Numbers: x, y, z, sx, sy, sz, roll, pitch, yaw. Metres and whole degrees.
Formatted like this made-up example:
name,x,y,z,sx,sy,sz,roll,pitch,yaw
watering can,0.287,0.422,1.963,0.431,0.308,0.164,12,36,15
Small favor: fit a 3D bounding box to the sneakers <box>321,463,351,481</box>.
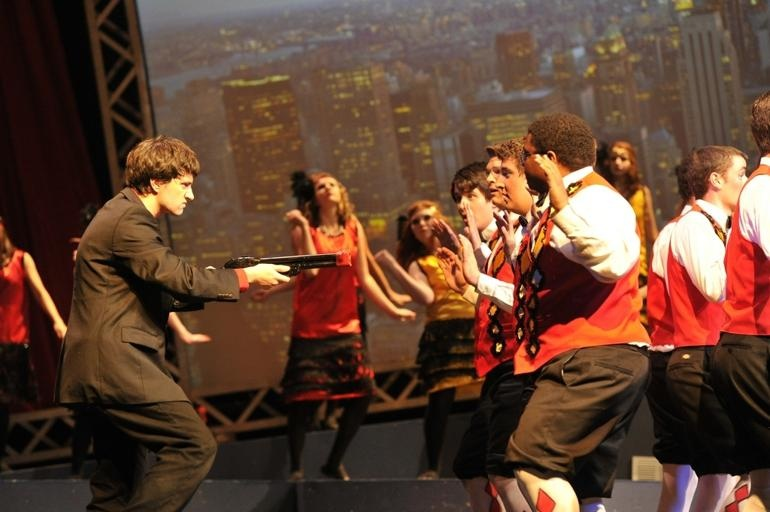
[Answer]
name,x,y,z,sx,sy,sz,roll,pitch,yaw
sneakers,-0.316,1.391,5.961,0.241,0.098,0.080,1,1,-1
